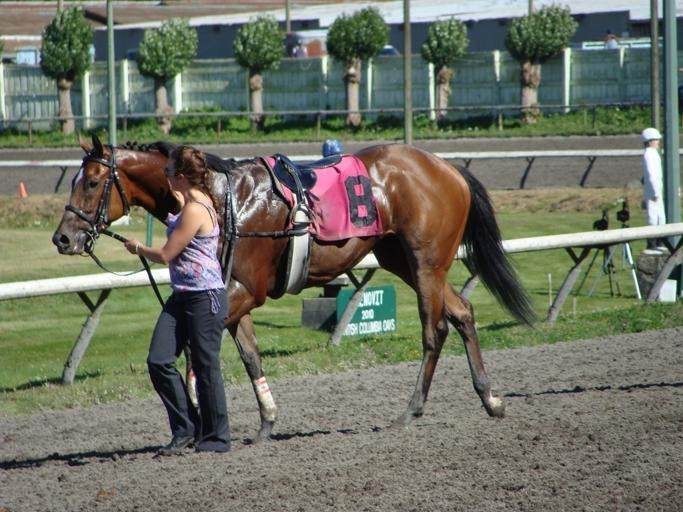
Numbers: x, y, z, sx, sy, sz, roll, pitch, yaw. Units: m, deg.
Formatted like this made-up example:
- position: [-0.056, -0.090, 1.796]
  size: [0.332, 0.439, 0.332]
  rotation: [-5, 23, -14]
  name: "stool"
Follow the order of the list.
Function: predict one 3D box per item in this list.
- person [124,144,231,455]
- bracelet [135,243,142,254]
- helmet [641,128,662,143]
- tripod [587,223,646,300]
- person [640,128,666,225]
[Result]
- position: [-1.724, 0.543, 15.805]
  size: [0.878, 3.478, 0.300]
  rotation: [-4, 8, -7]
  name: "person"
- position: [-2.270, -0.064, 15.737]
  size: [0.064, 0.134, 0.167]
  rotation: [-4, 9, -7]
  name: "bracelet"
- position: [4.819, -1.873, 21.819]
  size: [0.299, 0.270, 0.265]
  rotation: [15, 15, 20]
  name: "helmet"
- position: [4.167, 0.184, 21.263]
  size: [0.731, 0.658, 1.958]
  rotation: [-2, 9, 12]
  name: "tripod"
- position: [4.839, -1.208, 21.709]
  size: [0.291, 1.445, 0.468]
  rotation: [-1, 8, 12]
  name: "person"
